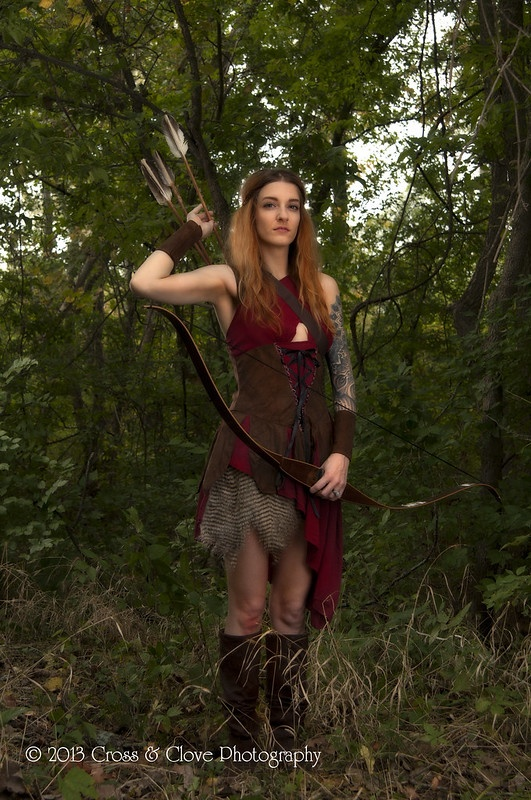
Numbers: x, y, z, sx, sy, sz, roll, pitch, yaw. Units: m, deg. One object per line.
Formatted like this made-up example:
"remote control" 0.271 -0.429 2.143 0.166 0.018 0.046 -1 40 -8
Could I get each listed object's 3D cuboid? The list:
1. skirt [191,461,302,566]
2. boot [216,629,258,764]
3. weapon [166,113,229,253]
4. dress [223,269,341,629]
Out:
"skirt" -0.068 0.341 2.204 0.251 0.300 0.322 -19 7 -27
"boot" -0.082 0.908 2.169 0.115 0.388 0.172 -2 0 -23
"weapon" -0.294 -0.780 2.519 0.021 0.534 0.098 14 37 34
"dress" 0.083 0.125 2.196 0.285 1.195 0.228 -3 5 2
